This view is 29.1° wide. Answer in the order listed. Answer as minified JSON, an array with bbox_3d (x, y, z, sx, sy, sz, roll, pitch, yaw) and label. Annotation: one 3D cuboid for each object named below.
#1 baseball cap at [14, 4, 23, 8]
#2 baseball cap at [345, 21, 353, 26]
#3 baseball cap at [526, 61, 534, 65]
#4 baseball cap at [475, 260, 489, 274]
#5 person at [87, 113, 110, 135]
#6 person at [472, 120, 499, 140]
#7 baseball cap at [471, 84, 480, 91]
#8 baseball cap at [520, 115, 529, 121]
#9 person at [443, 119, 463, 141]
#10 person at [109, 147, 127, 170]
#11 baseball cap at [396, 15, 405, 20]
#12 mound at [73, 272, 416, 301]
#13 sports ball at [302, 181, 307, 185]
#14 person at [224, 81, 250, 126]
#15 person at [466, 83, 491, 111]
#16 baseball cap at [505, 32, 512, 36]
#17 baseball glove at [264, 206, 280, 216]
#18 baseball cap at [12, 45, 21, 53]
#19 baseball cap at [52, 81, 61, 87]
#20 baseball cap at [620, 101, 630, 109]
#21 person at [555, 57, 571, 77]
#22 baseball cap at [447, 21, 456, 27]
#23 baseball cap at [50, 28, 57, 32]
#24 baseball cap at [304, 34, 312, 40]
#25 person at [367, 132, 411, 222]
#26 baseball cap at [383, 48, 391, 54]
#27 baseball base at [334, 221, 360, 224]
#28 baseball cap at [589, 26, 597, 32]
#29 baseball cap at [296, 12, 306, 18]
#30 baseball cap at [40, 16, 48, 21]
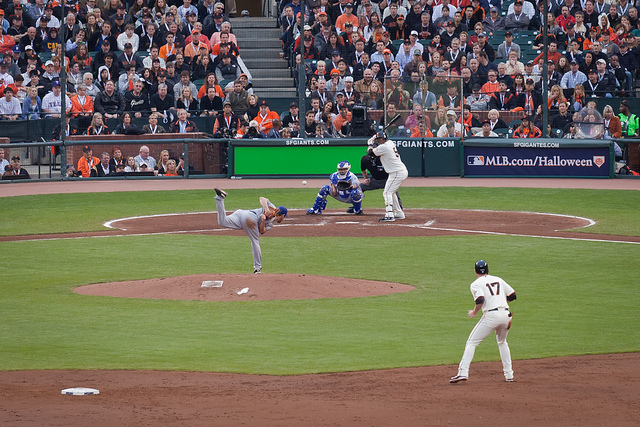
[{"bbox_3d":[-12.546,-8.658,51.536,0.294,0.171,0.278,-3,2,-22],"label":"baseball cap"},{"bbox_3d":[1.187,-7.787,50.657,0.407,0.178,0.592,-1,5,1],"label":"baseball cap"},{"bbox_3d":[8.045,-5.824,47.527,0.270,0.120,0.408,6,2,13],"label":"baseball cap"},{"bbox_3d":[3.565,1.184,27.289,0.253,0.286,0.295,2,21,6],"label":"baseball cap"},{"bbox_3d":[-8.315,-3.342,46.293,0.949,1.133,0.407,-3,-1,-19],"label":"person"},{"bbox_3d":[6.183,-3.104,46.044,0.894,0.750,0.274,-3,2,7],"label":"person"},{"bbox_3d":[5.877,-4.742,46.531,0.275,0.240,0.181,-4,2,-28],"label":"baseball cap"},{"bbox_3d":[7.624,-3.546,45.950,0.254,0.227,0.363,-3,2,11],"label":"baseball cap"},{"bbox_3d":[4.918,-3.097,45.921,0.715,0.773,0.314,-3,2,4],"label":"person"},{"bbox_3d":[-7.536,-2.089,46.259,1.042,0.833,0.545,-2,9,-9],"label":"person"},{"bbox_3d":[3.316,-8.103,51.014,0.337,0.246,0.581,-3,2,3],"label":"baseball cap"},{"bbox_3d":[-1.958,1.930,32.013,8.104,0.462,1.334,-3,2,-2],"label":"mound"},{"bbox_3d":[-0.576,-1.133,45.774,0.179,0.091,0.163,0,-1,0],"label":"sports ball"},{"bbox_3d":[-3.085,-4.191,47.232,0.751,1.672,1.572,-4,2,-28],"label":"person"},{"bbox_3d":[5.955,-4.374,46.571,0.910,0.981,0.447,-3,2,6],"label":"person"},{"bbox_3d":[7.594,-7.255,49.815,0.348,0.131,0.435,1,14,8],"label":"baseball cap"},{"bbox_3d":[-1.203,-0.066,32.062,0.272,0.238,0.191,-8,31,-27],"label":"baseball glove"},{"bbox_3d":[-12.253,-6.667,50.139,0.357,0.199,0.448,-2,6,-27],"label":"baseball cap"},{"bbox_3d":[-10.114,-4.995,47.585,0.245,0.316,0.347,3,3,-7],"label":"baseball cap"},{"bbox_3d":[11.342,-4.046,45.794,0.388,0.136,0.259,22,4,8],"label":"baseball cap"},{"bbox_3d":[9.462,-5.728,48.231,0.888,0.829,0.648,1,1,3],"label":"person"},{"bbox_3d":[5.370,-7.765,50.650,0.244,0.271,0.417,-2,2,25],"label":"baseball cap"},{"bbox_3d":[-10.965,-7.578,50.919,0.278,0.101,0.361,0,3,-12],"label":"baseball cap"},{"bbox_3d":[-0.477,-7.165,50.157,0.315,0.207,0.279,0,13,7],"label":"baseball cap"},{"bbox_3d":[2.137,-1.133,38.909,1.164,2.843,1.317,-3,2,1],"label":"person"},{"bbox_3d":[2.644,-6.466,48.895,0.297,0.179,0.440,0,-3,4],"label":"baseball cap"},{"bbox_3d":[0.889,0.308,39.289,0.737,0.076,0.468,-2,2,6],"label":"baseball base"},{"bbox_3d":[11.082,-7.470,50.155,0.264,0.259,0.529,-3,2,14],"label":"baseball cap"},{"bbox_3d":[-0.874,-8.386,52.211,0.349,0.175,0.502,2,0,-3],"label":"baseball cap"},{"bbox_3d":[-11.501,-8.149,51.625,0.316,0.249,0.508,-3,2,-12],"label":"baseball cap"}]
